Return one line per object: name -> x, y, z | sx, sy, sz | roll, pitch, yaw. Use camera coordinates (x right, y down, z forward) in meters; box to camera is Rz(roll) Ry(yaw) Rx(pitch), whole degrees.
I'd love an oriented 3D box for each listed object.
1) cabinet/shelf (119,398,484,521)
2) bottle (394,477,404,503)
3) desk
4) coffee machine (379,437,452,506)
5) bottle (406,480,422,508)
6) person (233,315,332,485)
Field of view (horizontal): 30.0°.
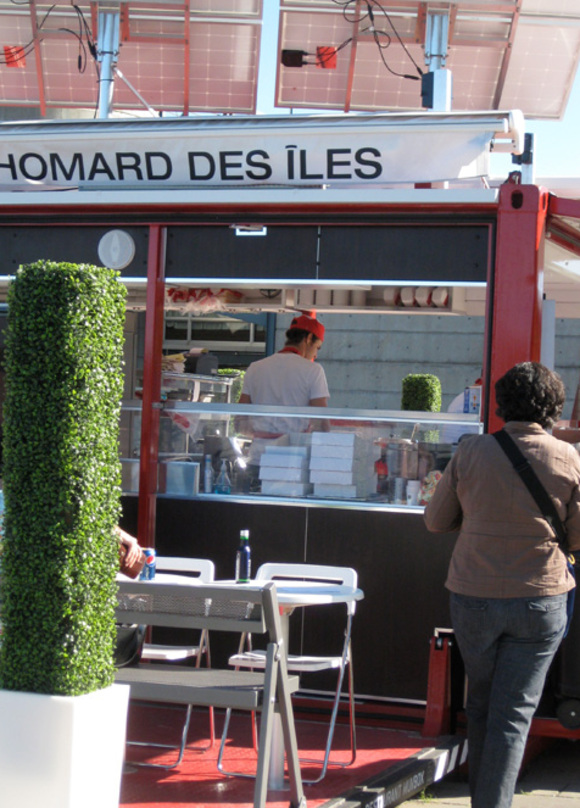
cabinet/shelf -> 0.108, 0.238, 5.517 | 1.816, 0.518, 1.084 | -1, 0, 20
bottle -> 0.524, 0.417, 5.213 | 0.045, 0.120, 0.028 | 2, -1, -3
desk -> -0.278, 0.867, 3.896 | 0.866, 0.913, 0.599 | 1, -4, 11
coffee machine -> 0.609, 0.303, 5.340 | 0.444, 0.363, 0.265 | 6, -5, 1
bottle -> 0.592, 0.427, 5.195 | 0.072, 0.113, 0.033 | 2, -1, 2
person -> -0.014, 0.134, 6.322 | 0.464, 1.261, 0.452 | 17, 15, 39
